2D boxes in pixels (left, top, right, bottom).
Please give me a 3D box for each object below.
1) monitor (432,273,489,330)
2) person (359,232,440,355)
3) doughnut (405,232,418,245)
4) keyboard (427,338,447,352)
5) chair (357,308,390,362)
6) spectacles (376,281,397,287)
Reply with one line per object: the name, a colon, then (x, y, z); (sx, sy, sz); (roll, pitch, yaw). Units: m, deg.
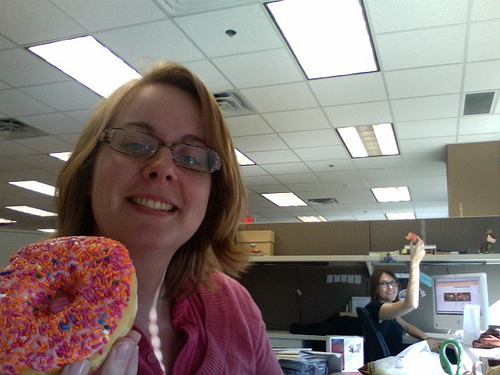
monitor: (1.819, 0.979, 3.178); (0.204, 0.529, 0.547); (17, -21, -18)
person: (1.451, 1.031, 3.522); (0.666, 1.158, 0.707); (-14, -28, 36)
doughnut: (1.497, 0.448, 3.395); (0.109, 0.037, 0.107); (32, -15, 17)
keyboard: (1.604, 1.342, 3.190); (0.110, 0.080, 0.552); (-7, -15, 30)
chair: (1.018, 1.163, 2.947); (0.207, 0.369, 0.352); (1, -13, -1)
spectacles: (1.357, 0.931, 3.614); (0.192, 0.042, 0.058); (5, -14, -17)
